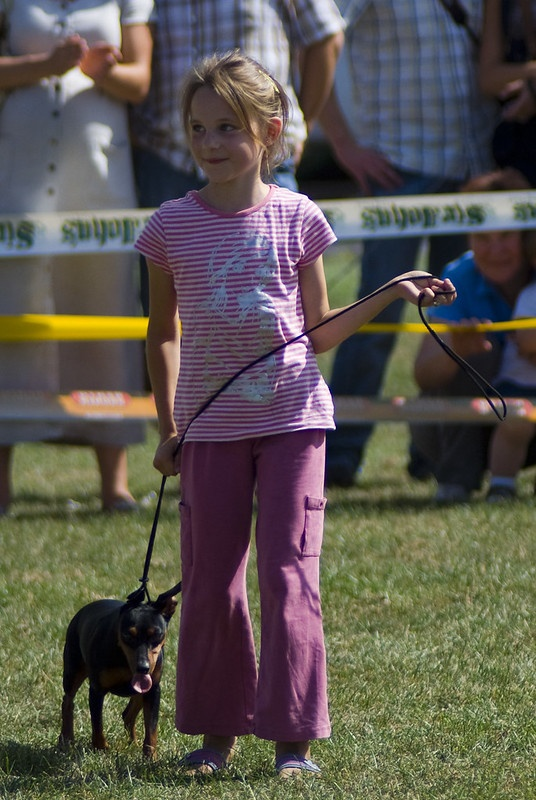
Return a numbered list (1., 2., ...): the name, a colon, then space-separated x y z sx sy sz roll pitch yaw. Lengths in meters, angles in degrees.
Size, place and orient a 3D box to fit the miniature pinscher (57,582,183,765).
1. miniature pinscher: -0.360 0.692 4.273 0.210 0.415 0.652 1 -3 -20
